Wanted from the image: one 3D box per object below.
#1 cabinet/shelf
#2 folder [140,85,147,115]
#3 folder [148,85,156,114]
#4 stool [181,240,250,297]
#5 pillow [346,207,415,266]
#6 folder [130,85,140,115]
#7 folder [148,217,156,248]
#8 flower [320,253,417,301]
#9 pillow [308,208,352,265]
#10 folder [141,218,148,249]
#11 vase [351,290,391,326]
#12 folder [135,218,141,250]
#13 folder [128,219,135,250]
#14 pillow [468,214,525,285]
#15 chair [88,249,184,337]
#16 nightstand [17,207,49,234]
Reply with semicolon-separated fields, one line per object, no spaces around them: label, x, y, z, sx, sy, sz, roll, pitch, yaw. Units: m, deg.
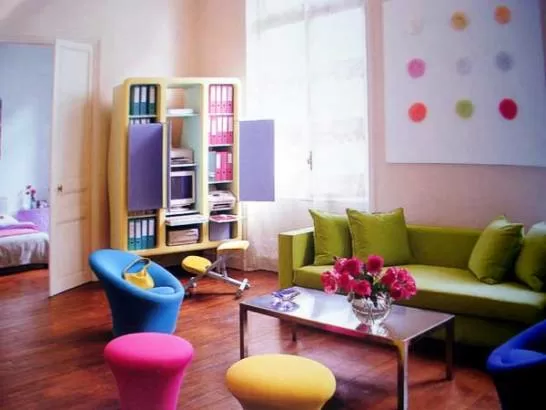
cabinet/shelf;-1.253;-0.535;5.577;1.657;2.231;0.719;-6;9;-31
folder;-1.607;-1.301;5.302;0.095;0.345;0.032;-4;8;-18
folder;-1.510;-1.308;5.333;0.108;0.347;0.031;-4;8;-18
stool;-0.726;0.742;5.315;0.896;0.643;0.533;3;5;3
pillow;1.031;0.325;4.191;0.578;0.477;0.260;-2;7;-20
folder;-1.697;-1.300;5.273;0.120;0.330;0.351;0;6;-12
folder;-1.533;0.348;5.400;0.027;0.369;0.108;5;10;39
flower;0.680;0.520;3.013;0.476;0.214;0.426;6;4;32
pillow;0.565;0.336;4.356;0.567;0.489;0.189;3;-13;-31
folder;-1.613;0.355;5.353;0.023;0.368;0.081;6;11;42
vase;0.683;0.723;2.993;0.243;0.157;0.236;-1;-4;6
folder;-1.681;0.360;5.318;0.032;0.365;0.082;6;11;43
folder;-1.746;0.369;5.281;0.043;0.363;0.105;6;11;43
pillow;1.942;0.408;4.005;0.469;0.670;0.826;0;-4;1
chair;-1.175;0.808;3.876;0.885;0.752;0.665;6;10;43
nightstand;-4.042;0.252;7.201;0.470;0.433;0.250;1;1;-31
